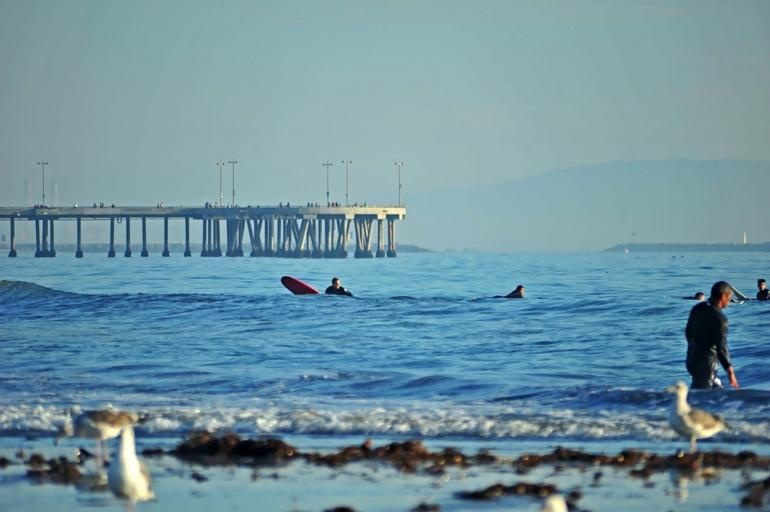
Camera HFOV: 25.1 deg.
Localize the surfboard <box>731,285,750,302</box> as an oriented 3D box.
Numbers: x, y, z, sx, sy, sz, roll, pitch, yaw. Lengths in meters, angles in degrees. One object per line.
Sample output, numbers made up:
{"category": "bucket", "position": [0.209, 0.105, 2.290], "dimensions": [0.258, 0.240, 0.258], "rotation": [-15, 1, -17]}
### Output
{"category": "surfboard", "position": [18.950, 2.019, 92.192], "dimensions": [0.283, 0.766, 1.372], "rotation": [-31, 32, -4]}
